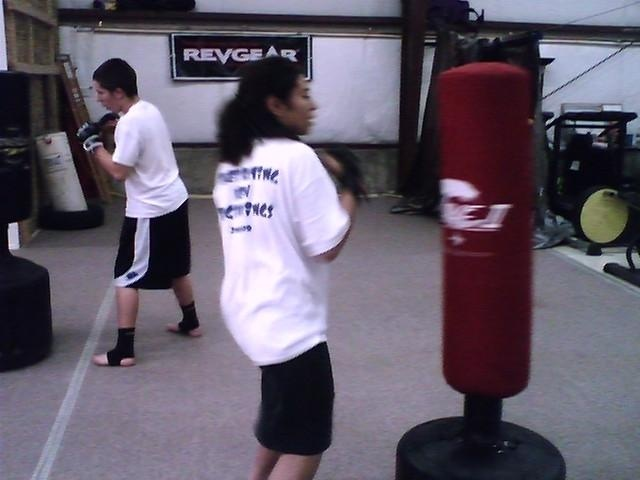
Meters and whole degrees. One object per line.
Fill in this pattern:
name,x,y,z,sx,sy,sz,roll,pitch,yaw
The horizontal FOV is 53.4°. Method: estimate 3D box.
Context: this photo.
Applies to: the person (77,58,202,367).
person,-1.253,-0.167,4.271,0.719,2.017,0.447,-13,23,-28
